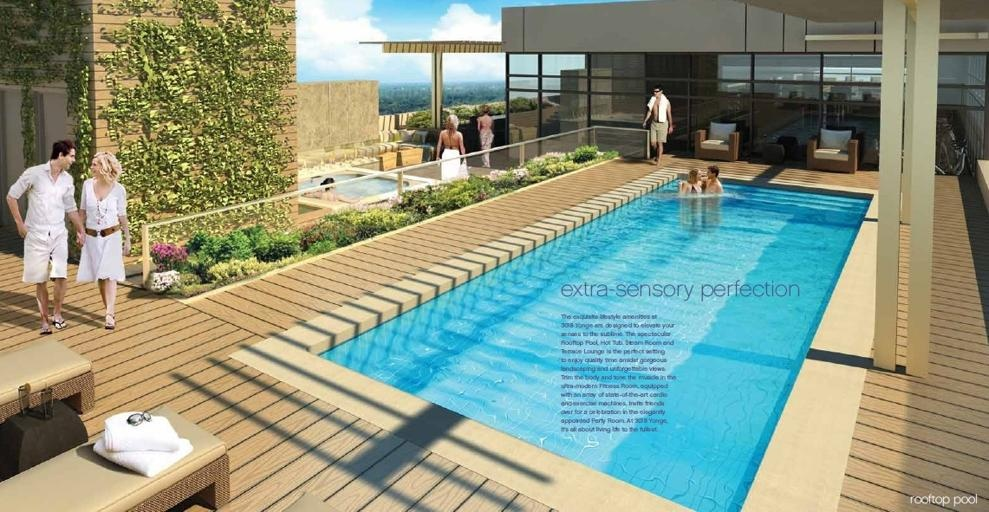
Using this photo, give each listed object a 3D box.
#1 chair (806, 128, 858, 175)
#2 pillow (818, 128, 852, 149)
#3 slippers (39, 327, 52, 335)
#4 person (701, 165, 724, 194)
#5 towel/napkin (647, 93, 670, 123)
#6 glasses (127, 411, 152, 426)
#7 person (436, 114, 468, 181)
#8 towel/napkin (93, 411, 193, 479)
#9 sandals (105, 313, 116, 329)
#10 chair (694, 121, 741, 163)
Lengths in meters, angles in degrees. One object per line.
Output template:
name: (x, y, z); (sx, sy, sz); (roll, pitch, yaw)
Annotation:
chair: (10.570, -3.305, 17.624); (1.539, 1.420, 1.613); (7, 17, 35)
pillow: (10.696, -3.670, 17.504); (0.841, 0.578, 0.319); (6, -27, 34)
slippers: (-7.228, 1.185, 8.955); (0.177, 0.120, 0.078); (-3, 18, -2)
person: (6.288, -2.182, 16.086); (0.660, 1.054, 0.811); (3, 19, 14)
towel/napkin: (5.256, -4.729, 17.861); (0.614, 0.908, 0.352); (0, 18, 9)
glasses: (-4.073, 1.860, 6.385); (0.124, 0.044, 0.196); (23, 23, 29)
person: (-1.341, -2.896, 16.847); (0.966, 2.541, 0.563); (3, 17, 2)
towel/napkin: (-3.991, 2.143, 6.318); (0.784, 0.247, 0.798); (26, 25, 28)
sandals: (-6.279, 1.078, 9.087); (0.132, 0.144, 0.376); (-3, 6, -23)
chair: (7.653, -3.933, 19.331); (1.469, 1.462, 1.492); (6, 13, 31)
